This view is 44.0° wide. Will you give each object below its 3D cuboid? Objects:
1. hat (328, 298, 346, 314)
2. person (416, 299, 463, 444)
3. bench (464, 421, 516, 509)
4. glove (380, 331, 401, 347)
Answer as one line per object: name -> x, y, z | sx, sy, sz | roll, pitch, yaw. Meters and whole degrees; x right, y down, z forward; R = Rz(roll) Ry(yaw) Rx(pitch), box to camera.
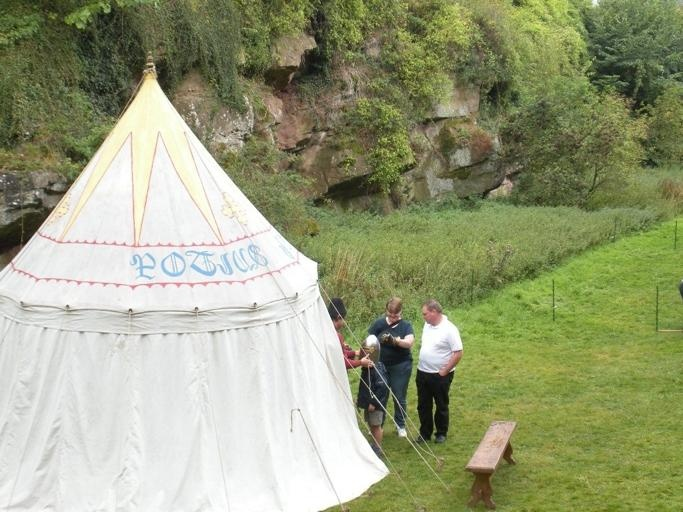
hat -> -0.059, 0.880, 15.067 | 0.220, 0.321, 0.295 | 0, -5, -6
person -> 1.727, 2.027, 15.024 | 0.900, 2.574, 0.817 | -6, 8, 6
bench -> 2.498, 3.472, 14.073 | 0.512, 0.995, 1.349 | -3, 10, 29
glove -> 0.846, 1.419, 14.663 | 0.252, 0.147, 0.203 | 12, 29, 8
